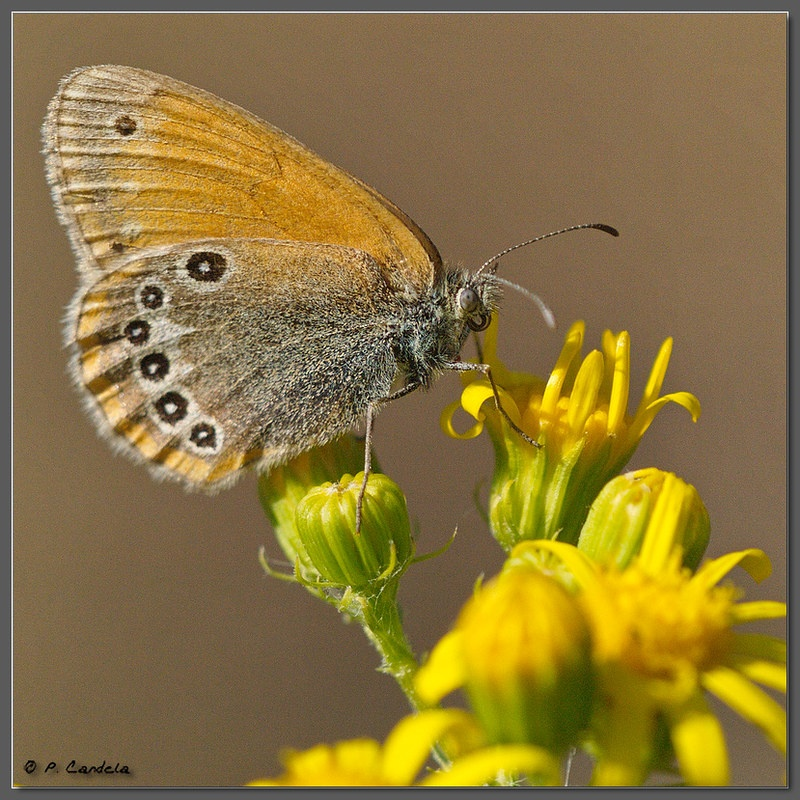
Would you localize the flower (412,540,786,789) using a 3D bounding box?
[{"bbox_3d":[0.481,0.594,2.487,0.649,0.235,0.617,-6,27,-2],"label":"flower"}]
